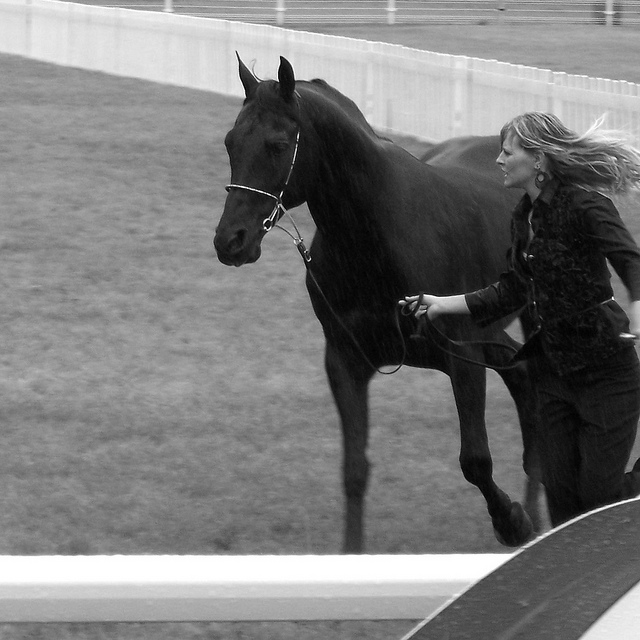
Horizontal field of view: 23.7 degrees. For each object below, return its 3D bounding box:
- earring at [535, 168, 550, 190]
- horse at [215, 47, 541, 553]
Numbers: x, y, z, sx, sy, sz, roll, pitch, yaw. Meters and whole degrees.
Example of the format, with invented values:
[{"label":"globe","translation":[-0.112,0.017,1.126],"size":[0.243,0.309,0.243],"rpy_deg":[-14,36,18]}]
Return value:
[{"label":"earring","translation":[0.731,-0.469,5.010],"size":[0.047,0.064,0.021],"rpy_deg":[5,9,6]},{"label":"horse","translation":[0.508,0.082,6.199],"size":[0.636,1.891,2.545],"rpy_deg":[-14,-12,35]}]
